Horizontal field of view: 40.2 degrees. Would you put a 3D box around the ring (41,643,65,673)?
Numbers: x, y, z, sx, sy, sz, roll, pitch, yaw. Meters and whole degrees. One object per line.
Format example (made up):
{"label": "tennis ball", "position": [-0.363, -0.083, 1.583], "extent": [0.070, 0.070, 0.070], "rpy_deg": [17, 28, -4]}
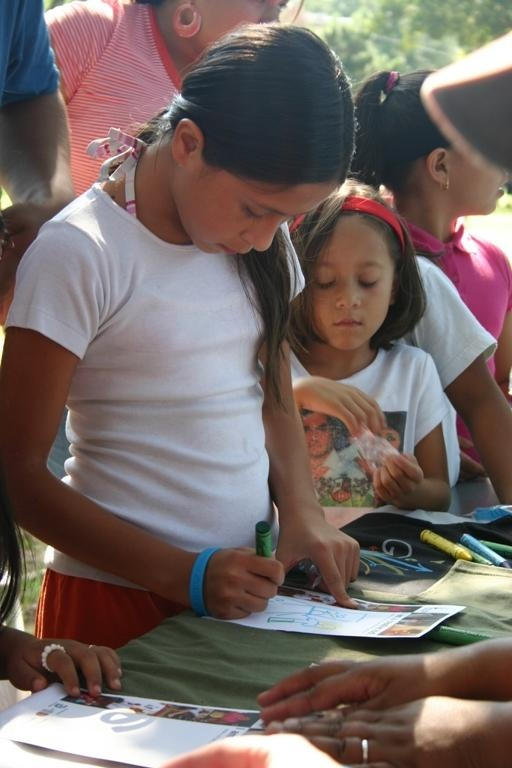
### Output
{"label": "ring", "position": [-0.258, 0.343, 0.876], "extent": [0.030, 0.011, 0.032], "rpy_deg": [3, 63, -5]}

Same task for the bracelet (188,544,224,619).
{"label": "bracelet", "position": [-0.078, 0.308, 1.068], "extent": [0.029, 0.071, 0.063], "rpy_deg": [5, -11, -17]}
